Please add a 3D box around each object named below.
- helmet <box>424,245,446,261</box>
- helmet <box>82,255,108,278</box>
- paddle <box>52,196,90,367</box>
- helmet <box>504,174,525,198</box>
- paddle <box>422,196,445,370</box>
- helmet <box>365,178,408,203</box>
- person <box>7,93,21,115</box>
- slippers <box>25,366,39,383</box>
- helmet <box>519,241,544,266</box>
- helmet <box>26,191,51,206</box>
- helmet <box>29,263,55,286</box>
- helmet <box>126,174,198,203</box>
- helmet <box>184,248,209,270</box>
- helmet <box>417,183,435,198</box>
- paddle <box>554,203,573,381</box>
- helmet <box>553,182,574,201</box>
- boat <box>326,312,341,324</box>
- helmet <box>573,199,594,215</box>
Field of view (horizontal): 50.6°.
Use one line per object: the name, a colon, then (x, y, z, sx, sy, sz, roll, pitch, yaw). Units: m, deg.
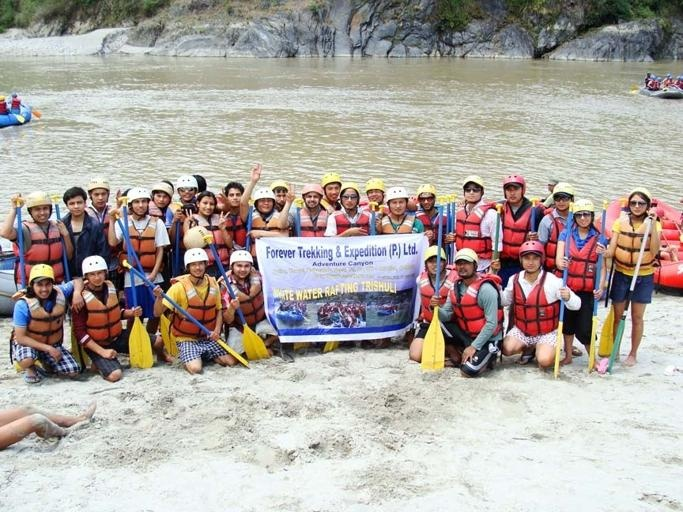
helmet: (1.307, -0.034, 10.142, 0.190, 0.166, 0.272, -2, -12, 7)
helmet: (-3.292, 0.155, 9.643, 0.220, 0.254, 0.306, -7, -18, -19)
paddle: (-3.615, 0.286, 10.084, 0.485, 2.379, 1.093, -7, 14, -19)
helmet: (2.547, -1.023, 10.617, 0.284, 0.327, 0.416, 3, 11, 14)
paddle: (1.269, 0.650, 9.943, 0.313, 1.690, 0.962, 0, 14, 8)
helmet: (0.664, -0.963, 10.808, 0.629, 0.296, 0.481, 3, 7, 19)
person: (-12.066, -5.587, 26.808, 0.520, 0.820, 0.257, 5, 14, 3)
slippers: (-4.007, 1.565, 9.370, 0.106, 0.138, 0.333, 2, -4, -13)
helmet: (2.538, -0.068, 9.593, 0.234, 0.363, 0.256, -1, 13, 12)
helmet: (-4.135, -0.760, 9.868, 0.282, 0.190, 0.257, -13, 17, -36)
helmet: (-3.833, 0.226, 9.232, 0.292, 0.219, 0.326, -6, 14, -14)
helmet: (-2.537, -1.049, 11.009, 0.645, 0.320, 0.452, -2, -6, 4)
helmet: (-1.950, 0.033, 9.683, 0.278, 0.261, 0.285, -6, 14, -15)
helmet: (1.286, -0.956, 10.845, 0.167, 0.200, 0.248, -2, -14, 6)
paddle: (3.013, 0.453, 9.770, 0.170, 2.103, 1.157, 2, 14, 18)
helmet: (3.142, -0.916, 10.261, 0.250, 0.306, 0.346, -3, 10, 24)
boat: (-0.095, 0.899, 10.352, 0.157, 0.151, 0.140, 2, 5, 8)
helmet: (3.281, -0.641, 9.811, 0.183, 0.209, 0.248, -12, -31, 20)
